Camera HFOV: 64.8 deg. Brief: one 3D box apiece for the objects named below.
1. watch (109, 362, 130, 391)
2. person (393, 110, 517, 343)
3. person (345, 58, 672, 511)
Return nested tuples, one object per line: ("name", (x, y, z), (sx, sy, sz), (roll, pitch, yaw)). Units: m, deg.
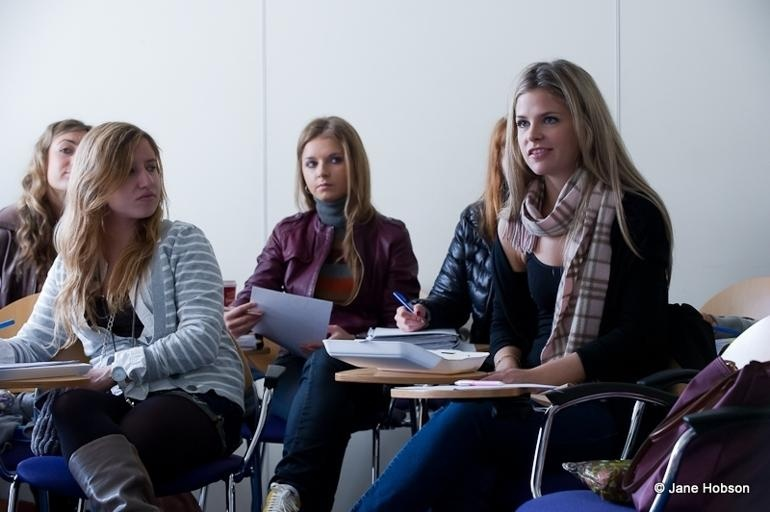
("watch", (-0.939, 0.429, 2.144), (0.080, 0.093, 0.052), (-1, -1, 30))
("person", (0.491, -0.128, 2.739), (0.614, 1.136, 0.637), (-1, -16, 27))
("person", (0.589, 0.033, 2.158), (0.694, 1.638, 0.951), (-1, -1, 32))
